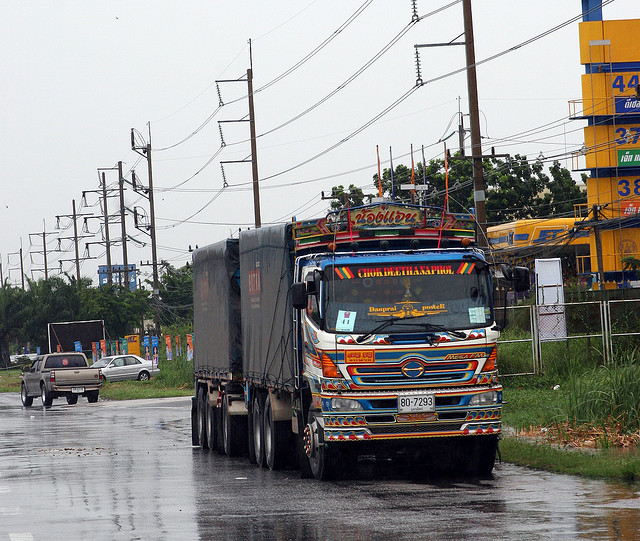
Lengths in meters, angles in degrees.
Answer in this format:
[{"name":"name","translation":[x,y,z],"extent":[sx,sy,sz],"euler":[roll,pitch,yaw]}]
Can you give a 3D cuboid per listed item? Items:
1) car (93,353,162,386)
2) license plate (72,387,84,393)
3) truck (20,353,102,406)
[{"name":"car","translation":[-8.700,4.423,59.817],"extent":[2.819,1.078,1.323],"euler":[4,-5,-20]},{"name":"license plate","translation":[-8.768,4.286,47.751],"extent":[0.425,0.195,0.162],"euler":[-3,-5,-21]},{"name":"truck","translation":[-9.711,3.912,48.771],"extent":[1.584,1.407,3.046],"euler":[1,-1,-21]}]
